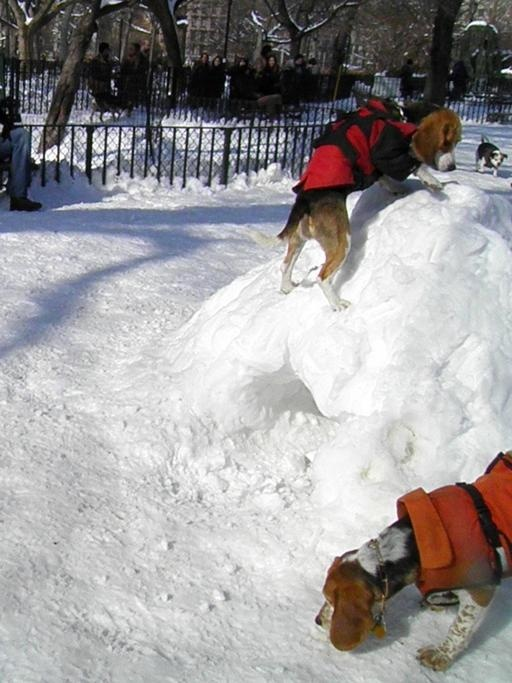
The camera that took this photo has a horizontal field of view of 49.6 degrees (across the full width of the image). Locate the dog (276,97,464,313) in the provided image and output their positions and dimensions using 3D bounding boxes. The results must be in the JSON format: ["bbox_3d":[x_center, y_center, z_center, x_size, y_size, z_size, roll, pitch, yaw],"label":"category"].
[{"bbox_3d":[0.674,-0.883,3.473,1.265,1.085,0.656,-12,23,-10],"label":"dog"}]

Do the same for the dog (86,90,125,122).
[{"bbox_3d":[-4.054,-6.201,15.134,0.826,0.800,2.076,-2,7,-13],"label":"dog"}]
